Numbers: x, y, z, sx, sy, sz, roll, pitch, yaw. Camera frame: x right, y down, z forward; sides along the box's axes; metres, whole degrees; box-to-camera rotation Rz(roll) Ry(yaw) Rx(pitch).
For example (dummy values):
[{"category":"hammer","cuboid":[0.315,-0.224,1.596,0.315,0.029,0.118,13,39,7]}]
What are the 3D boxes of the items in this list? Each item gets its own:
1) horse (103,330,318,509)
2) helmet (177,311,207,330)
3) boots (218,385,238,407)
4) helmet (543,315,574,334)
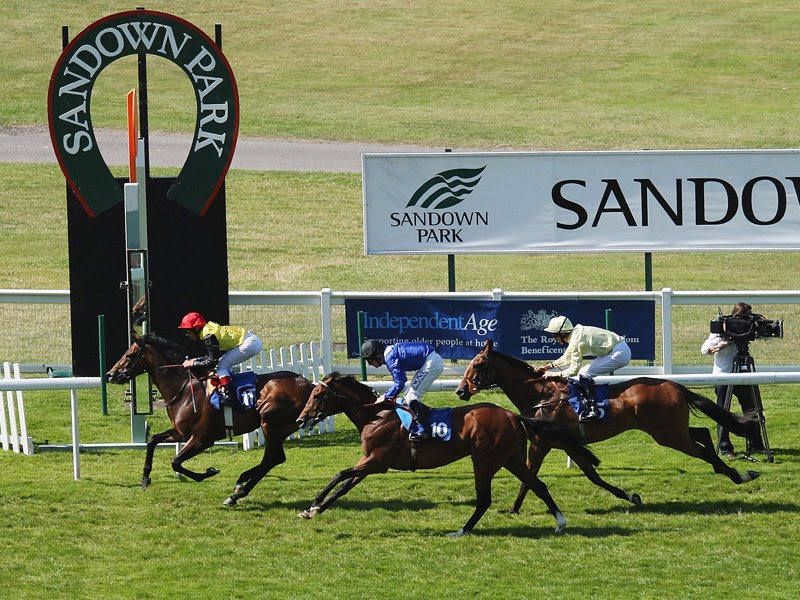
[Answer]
[{"category":"horse","cuboid":[-2.437,1.791,31.894,3.789,2.490,0.891,1,-4,1]},{"category":"helmet","cuboid":[-3.075,0.260,31.816,0.373,0.203,0.269,3,3,-8]},{"category":"boots","cuboid":[-2.548,1.359,31.582,0.297,0.222,0.146,-2,1,-7]},{"category":"helmet","cuboid":[2.322,0.323,31.498,0.346,0.205,0.271,1,0,-8]}]
